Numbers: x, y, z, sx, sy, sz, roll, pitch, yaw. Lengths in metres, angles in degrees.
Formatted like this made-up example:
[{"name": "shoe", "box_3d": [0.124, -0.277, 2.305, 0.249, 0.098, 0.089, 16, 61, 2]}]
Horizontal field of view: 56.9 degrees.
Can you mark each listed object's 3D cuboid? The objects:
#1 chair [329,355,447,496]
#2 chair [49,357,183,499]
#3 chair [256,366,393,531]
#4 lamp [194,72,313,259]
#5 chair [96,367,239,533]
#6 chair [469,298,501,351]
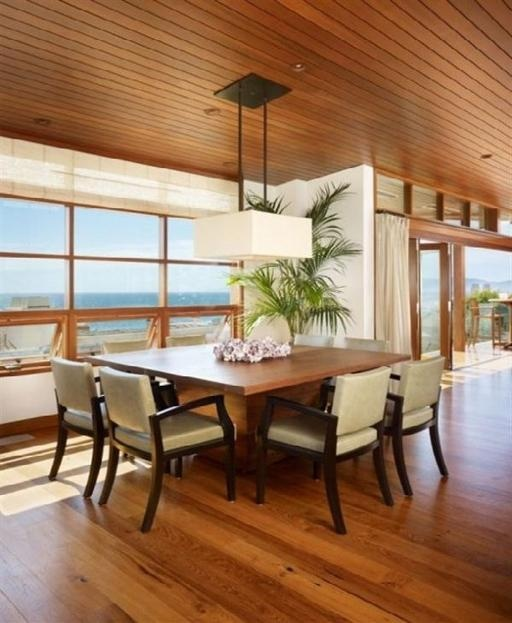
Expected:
[{"name": "chair", "box_3d": [0.906, 0.597, 2.950, 0.667, 0.990, 0.720, -3, 3, -45]}, {"name": "chair", "box_3d": [-0.863, 0.665, 2.934, 0.699, 0.725, 0.521, 1, -1, -41]}, {"name": "chair", "box_3d": [0.525, 0.650, 2.762, 0.800, 0.990, 0.741, 2, 1, 42]}, {"name": "lamp", "box_3d": [-0.016, -0.980, 3.664, 0.862, 1.156, 2.003, -3, 7, -1]}, {"name": "chair", "box_3d": [-0.491, 0.657, 2.522, 0.593, 0.780, 0.518, -9, 10, -42]}, {"name": "chair", "box_3d": [4.454, 0.213, 9.240, 0.684, 0.796, 0.661, -7, 7, -30]}]
